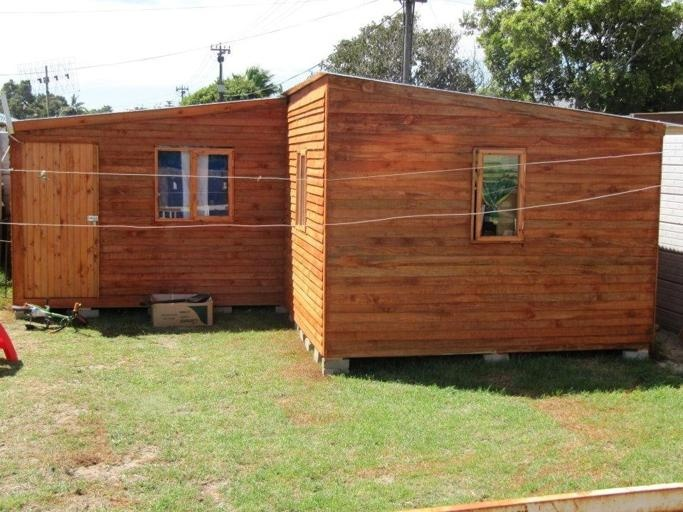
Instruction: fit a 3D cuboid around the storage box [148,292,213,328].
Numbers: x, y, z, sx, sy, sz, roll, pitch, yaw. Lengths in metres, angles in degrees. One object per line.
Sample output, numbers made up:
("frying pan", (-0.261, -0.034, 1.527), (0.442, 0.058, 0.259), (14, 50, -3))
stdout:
("storage box", (-2.868, 0.960, 12.412), (1.065, 0.538, 0.928), (-3, 6, -13))
